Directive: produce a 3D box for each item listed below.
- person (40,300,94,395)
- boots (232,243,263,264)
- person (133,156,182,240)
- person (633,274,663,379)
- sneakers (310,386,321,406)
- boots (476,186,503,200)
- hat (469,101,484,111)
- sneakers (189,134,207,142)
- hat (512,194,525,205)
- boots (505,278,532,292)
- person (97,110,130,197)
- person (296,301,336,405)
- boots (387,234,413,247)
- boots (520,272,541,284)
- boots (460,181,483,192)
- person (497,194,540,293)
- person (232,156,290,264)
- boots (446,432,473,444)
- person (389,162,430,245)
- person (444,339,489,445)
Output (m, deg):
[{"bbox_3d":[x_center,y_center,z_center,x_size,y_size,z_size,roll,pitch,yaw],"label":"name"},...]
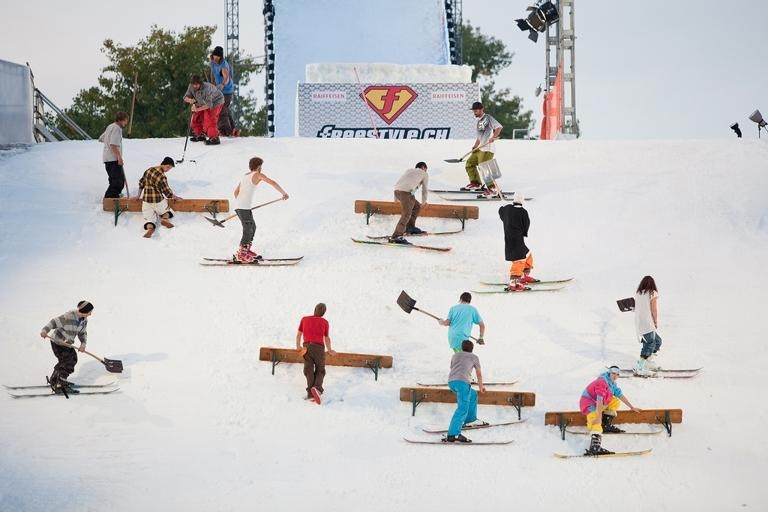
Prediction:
[{"bbox_3d":[-7.443,2.104,21.413,1.074,2.067,0.575,-3,11,-22],"label":"person"},{"bbox_3d":[-3.649,-0.053,24.403,0.973,0.775,0.345,-1,13,-5],"label":"boots"},{"bbox_3d":[-6.232,-1.580,25.181,0.917,2.178,1.033,-5,11,-30],"label":"person"},{"bbox_3d":[6.248,1.626,21.850,0.622,2.290,0.944,3,10,15],"label":"person"},{"bbox_3d":[-1.585,3.204,21.247,0.190,0.453,0.178,-10,9,35],"label":"sneakers"},{"bbox_3d":[3.079,-1.841,26.980,0.884,0.453,0.349,3,2,7],"label":"boots"},{"bbox_3d":[2.667,-4.239,26.545,0.404,0.208,0.510,0,6,6],"label":"hat"},{"bbox_3d":[-6.069,-3.749,29.701,0.482,0.270,0.210,4,3,4],"label":"sneakers"},{"bbox_3d":[3.422,-1.453,23.522,0.214,0.295,0.510,2,10,5],"label":"hat"},{"bbox_3d":[3.418,0.772,23.600,0.628,0.415,0.301,-2,13,-5],"label":"boots"},{"bbox_3d":[-7.558,-2.769,25.621,0.658,2.390,0.870,-3,10,-21],"label":"person"},{"bbox_3d":[-1.660,2.343,21.251,0.760,2.049,0.546,0,10,-5],"label":"person"},{"bbox_3d":[0.411,-0.401,25.178,0.721,0.324,0.253,2,16,-1],"label":"boots"},{"bbox_3d":[3.702,0.578,23.725,0.601,0.376,0.214,0,5,-4],"label":"boots"},{"bbox_3d":[2.588,-2.043,27.476,0.663,0.323,0.262,3,0,10],"label":"boots"},{"bbox_3d":[3.463,-0.357,23.634,0.894,2.437,1.048,5,11,22],"label":"person"},{"bbox_3d":[-3.499,-1.169,24.070,0.970,2.730,1.369,-8,13,-41],"label":"person"},{"bbox_3d":[1.670,4.064,20.607,0.603,0.290,0.235,1,2,-2],"label":"boots"},{"bbox_3d":[0.634,-1.444,25.163,0.971,2.199,1.182,1,10,0],"label":"person"},{"bbox_3d":[1.748,2.989,20.539,0.853,2.244,0.581,-2,10,-14],"label":"person"}]
